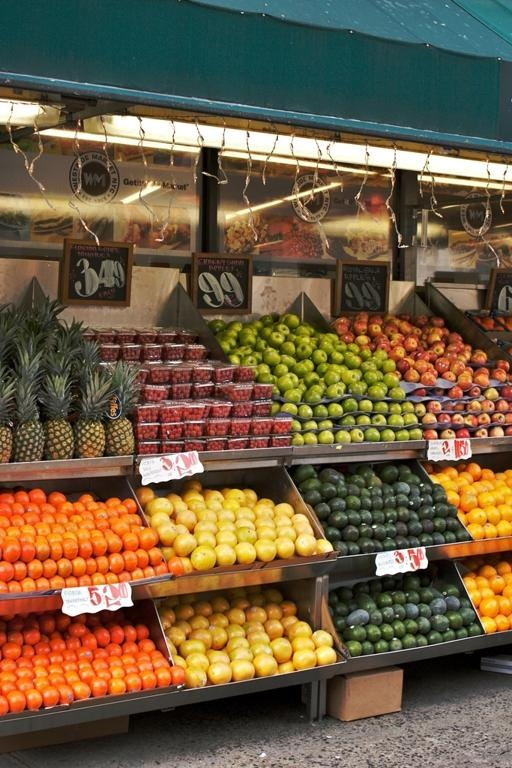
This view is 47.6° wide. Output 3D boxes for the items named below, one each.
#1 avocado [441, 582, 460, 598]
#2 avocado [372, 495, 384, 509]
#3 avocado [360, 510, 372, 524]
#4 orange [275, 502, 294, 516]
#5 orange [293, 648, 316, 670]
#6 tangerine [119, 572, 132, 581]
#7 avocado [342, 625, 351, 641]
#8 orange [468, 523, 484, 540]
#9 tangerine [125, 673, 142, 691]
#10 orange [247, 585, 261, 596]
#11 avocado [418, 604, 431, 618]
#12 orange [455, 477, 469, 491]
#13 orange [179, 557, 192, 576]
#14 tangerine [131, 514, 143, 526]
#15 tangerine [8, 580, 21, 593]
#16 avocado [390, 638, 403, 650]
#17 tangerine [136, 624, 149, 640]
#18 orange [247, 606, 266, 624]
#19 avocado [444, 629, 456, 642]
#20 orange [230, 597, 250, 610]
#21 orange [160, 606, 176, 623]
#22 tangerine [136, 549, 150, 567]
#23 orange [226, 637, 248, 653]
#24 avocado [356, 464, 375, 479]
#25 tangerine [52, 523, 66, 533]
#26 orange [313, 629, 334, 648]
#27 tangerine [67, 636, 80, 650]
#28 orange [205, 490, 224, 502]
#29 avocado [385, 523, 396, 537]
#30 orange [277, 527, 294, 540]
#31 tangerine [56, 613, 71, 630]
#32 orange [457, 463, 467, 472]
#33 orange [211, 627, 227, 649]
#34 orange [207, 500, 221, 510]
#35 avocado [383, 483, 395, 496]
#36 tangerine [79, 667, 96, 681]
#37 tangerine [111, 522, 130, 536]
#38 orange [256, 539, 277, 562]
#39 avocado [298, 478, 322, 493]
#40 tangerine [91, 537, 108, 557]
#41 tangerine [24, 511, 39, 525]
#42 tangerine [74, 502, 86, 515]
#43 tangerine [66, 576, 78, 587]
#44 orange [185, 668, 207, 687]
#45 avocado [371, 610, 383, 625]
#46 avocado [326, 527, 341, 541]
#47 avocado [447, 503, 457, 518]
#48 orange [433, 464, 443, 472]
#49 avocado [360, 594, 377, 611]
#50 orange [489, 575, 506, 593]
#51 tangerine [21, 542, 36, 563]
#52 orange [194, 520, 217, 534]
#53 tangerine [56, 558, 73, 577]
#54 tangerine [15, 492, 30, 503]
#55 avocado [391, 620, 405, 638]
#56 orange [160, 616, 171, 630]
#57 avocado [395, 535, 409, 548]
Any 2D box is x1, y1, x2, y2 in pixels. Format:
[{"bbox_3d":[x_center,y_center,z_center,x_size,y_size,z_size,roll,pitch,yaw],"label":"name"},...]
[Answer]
[{"bbox_3d":[1.068,1.122,3.177,0.084,0.070,0.071,15,16,24],"label":"avocado"},{"bbox_3d":[0.645,0.621,3.077,0.060,0.060,0.060,-16,11,37],"label":"avocado"},{"bbox_3d":[0.561,0.669,2.963,0.064,0.062,0.064,-1,6,2],"label":"avocado"},{"bbox_3d":[0.142,0.607,2.832,0.053,0.058,0.058,-27,-23,30],"label":"orange"},{"bbox_3d":[0.212,1.194,2.522,0.075,0.079,0.093,-2,10,-8],"label":"orange"},{"bbox_3d":[-0.486,0.718,2.169,0.032,0.029,0.032,-1,-36,-3],"label":"tangerine"},{"bbox_3d":[0.437,1.179,2.756,0.029,0.051,0.039,8,-21,-1],"label":"avocado"},{"bbox_3d":[1.238,0.819,3.257,0.083,0.081,0.079,-1,-11,-5],"label":"orange"},{"bbox_3d":[-0.433,1.057,2.071,0.059,0.054,0.055,3,-10,-8],"label":"tangerine"},{"bbox_3d":[0.001,1.028,2.908,0.041,0.047,0.040,6,-30,-5],"label":"orange"},{"bbox_3d":[0.880,1.171,3.016,0.050,0.050,0.067,-15,26,-26],"label":"avocado"},{"bbox_3d":[1.235,0.602,3.504,0.067,0.066,0.083,2,39,2],"label":"orange"},{"bbox_3d":[-0.275,0.726,2.332,0.051,0.063,0.052,-10,3,8],"label":"orange"},{"bbox_3d":[-0.488,0.559,2.409,0.048,0.048,0.047,2,-14,-2],"label":"tangerine"},{"bbox_3d":[-0.788,0.658,1.906,0.031,0.037,0.032,-2,-1,23],"label":"tangerine"},{"bbox_3d":[0.678,1.254,2.828,0.052,0.063,0.052,-1,-35,-4],"label":"avocado"},{"bbox_3d":[-0.461,1.010,2.382,0.042,0.051,0.043,1,3,13],"label":"tangerine"},{"bbox_3d":[0.007,1.080,2.729,0.078,0.065,0.063,17,-15,25],"label":"orange"},{"bbox_3d":[1.003,1.291,2.999,0.055,0.066,0.054,2,-10,-5],"label":"avocado"},{"bbox_3d":[-0.072,1.048,2.790,0.046,0.057,0.047,14,-3,28],"label":"orange"},{"bbox_3d":[-0.380,0.994,2.523,0.056,0.069,0.056,4,2,10],"label":"orange"},{"bbox_3d":[-0.432,0.674,2.250,0.031,0.070,0.069,-9,-14,43],"label":"tangerine"},{"bbox_3d":[-0.075,1.127,2.524,0.057,0.053,0.054,7,34,-36],"label":"orange"},{"bbox_3d":[0.622,0.488,3.272,0.067,0.067,0.081,-27,10,22],"label":"avocado"},{"bbox_3d":[-0.743,0.536,2.175,0.031,0.030,0.030,-1,36,-12],"label":"tangerine"},{"bbox_3d":[0.308,1.152,2.640,0.060,0.072,0.064,-12,-6,1],"label":"orange"},{"bbox_3d":[-0.688,0.979,2.206,0.048,0.031,0.059,5,-11,-17],"label":"tangerine"},{"bbox_3d":[-0.200,0.543,2.854,0.054,0.057,0.064,-14,13,-34],"label":"orange"},{"bbox_3d":[0.701,0.750,3.009,0.060,0.059,0.055,0,3,5],"label":"avocado"},{"bbox_3d":[0.142,0.671,2.628,0.058,0.068,0.058,8,-38,-14],"label":"orange"},{"bbox_3d":[-0.753,0.930,2.277,0.057,0.068,0.056,5,-12,-18],"label":"tangerine"},{"bbox_3d":[1.357,0.536,3.787,0.057,0.043,0.043,-30,25,-10],"label":"orange"},{"bbox_3d":[-0.160,1.107,2.542,0.073,0.087,0.076,1,-22,-12],"label":"orange"},{"bbox_3d":[-0.192,0.573,2.749,0.046,0.039,0.040,11,18,31],"label":"orange"},{"bbox_3d":[0.735,0.570,3.169,0.045,0.058,0.034,-11,-14,9],"label":"avocado"},{"bbox_3d":[-0.588,1.008,2.037,0.032,0.033,0.041,14,-29,51],"label":"tangerine"},{"bbox_3d":[-0.527,0.561,2.276,0.045,0.049,0.049,-5,-16,43],"label":"tangerine"},{"bbox_3d":[0.052,0.705,2.501,0.087,0.079,0.085,0,-5,-4],"label":"orange"},{"bbox_3d":[0.285,0.515,2.978,0.082,0.060,0.063,-19,2,-3],"label":"avocado"},{"bbox_3d":[-0.582,0.601,2.160,0.052,0.072,0.042,6,-11,-21],"label":"tangerine"},{"bbox_3d":[-0.842,0.502,2.197,0.041,0.040,0.040,17,14,-40],"label":"tangerine"},{"bbox_3d":[-0.724,0.510,2.397,0.037,0.038,0.037,7,-25,38],"label":"tangerine"},{"bbox_3d":[-0.650,0.694,2.057,0.041,0.032,0.041,6,-11,-23],"label":"tangerine"},{"bbox_3d":[-0.232,1.131,2.245,0.081,0.067,0.048,4,-11,-16],"label":"orange"},{"bbox_3d":[0.593,1.141,2.847,0.062,0.062,0.060,5,9,-11],"label":"avocado"},{"bbox_3d":[0.373,0.718,2.799,0.059,0.071,0.059,21,10,22],"label":"avocado"},{"bbox_3d":[1.095,0.698,3.238,0.061,0.072,0.060,-3,6,4],"label":"avocado"},{"bbox_3d":[1.177,0.531,3.740,0.040,0.053,0.040,11,-10,3],"label":"orange"},{"bbox_3d":[0.566,1.084,2.890,0.041,0.042,0.087,-23,42,0],"label":"avocado"},{"bbox_3d":[1.423,1.163,3.406,0.084,0.096,0.083,2,-10,-3],"label":"orange"},{"bbox_3d":[-0.761,0.566,1.984,0.057,0.057,0.058,4,35,-11],"label":"tangerine"},{"bbox_3d":[-0.215,0.620,2.534,0.075,0.048,0.127,-7,-13,39],"label":"orange"},{"bbox_3d":[-0.665,0.636,2.026,0.052,0.069,0.058,-4,-8,5],"label":"tangerine"},{"bbox_3d":[-0.922,0.445,2.316,0.040,0.041,0.041,-33,-43,23],"label":"tangerine"},{"bbox_3d":[0.709,1.203,2.874,0.054,0.073,0.054,10,-19,-3],"label":"avocado"},{"bbox_3d":[-0.381,1.017,2.485,0.039,0.039,0.047,3,-2,-5],"label":"orange"},{"bbox_3d":[0.756,0.803,2.986,0.032,0.057,0.058,1,-8,-5],"label":"avocado"}]
